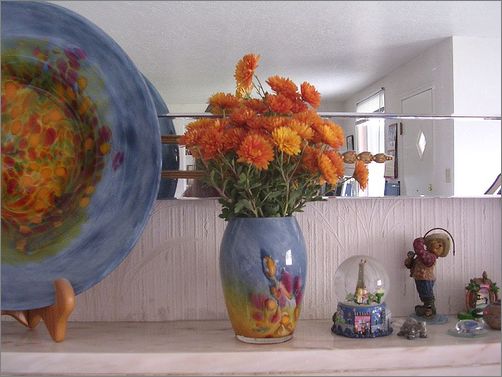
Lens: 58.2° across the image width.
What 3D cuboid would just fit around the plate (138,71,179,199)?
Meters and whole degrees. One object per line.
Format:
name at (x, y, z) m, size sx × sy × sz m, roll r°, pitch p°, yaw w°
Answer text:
plate at (-0.238, -0.151, 1.066) m, size 0.058 × 0.247 × 0.255 m, roll -22°, pitch 26°, yaw -2°

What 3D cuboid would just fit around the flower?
flower at (0.052, -0.115, 1.143) m, size 0.430 × 0.424 × 0.342 m, roll 0°, pitch 2°, yaw -2°

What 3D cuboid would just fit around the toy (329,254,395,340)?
toy at (0.276, 0.260, 1.117) m, size 0.161 × 0.183 × 0.164 m, roll -4°, pitch -4°, yaw 39°

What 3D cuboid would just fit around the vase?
vase at (0.024, 0.217, 1.078) m, size 0.206 × 0.264 × 0.207 m, roll -2°, pitch -1°, yaw 14°

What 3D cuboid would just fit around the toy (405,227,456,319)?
toy at (0.449, 0.225, 1.172) m, size 0.098 × 0.142 × 0.107 m, roll 0°, pitch 3°, yaw -45°
